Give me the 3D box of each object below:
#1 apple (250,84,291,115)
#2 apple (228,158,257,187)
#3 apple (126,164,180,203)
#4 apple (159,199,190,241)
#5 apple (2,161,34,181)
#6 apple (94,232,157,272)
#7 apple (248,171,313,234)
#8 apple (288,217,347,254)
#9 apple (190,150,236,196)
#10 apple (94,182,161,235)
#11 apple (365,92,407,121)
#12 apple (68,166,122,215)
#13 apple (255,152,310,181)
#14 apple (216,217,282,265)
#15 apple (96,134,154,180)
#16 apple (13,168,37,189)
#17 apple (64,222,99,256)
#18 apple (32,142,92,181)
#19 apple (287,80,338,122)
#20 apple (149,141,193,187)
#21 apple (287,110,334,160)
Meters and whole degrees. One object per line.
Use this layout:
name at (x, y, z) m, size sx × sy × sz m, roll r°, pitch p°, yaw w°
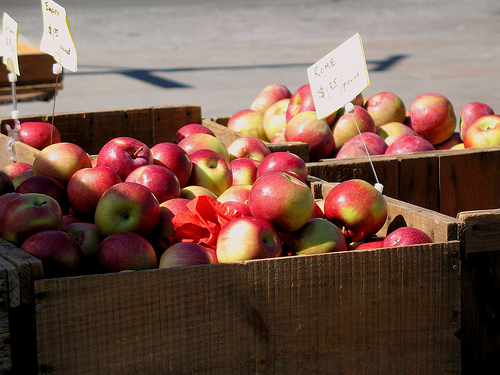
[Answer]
apple at (0.152, -0.673, 4.830) m, size 0.226 × 0.241 × 0.240 m, roll 38°, pitch 11°, yaw -15°
apple at (-0.030, -0.078, 3.162) m, size 0.108 × 0.142 × 0.125 m, roll 3°, pitch 7°, yaw 0°
apple at (-0.406, -0.025, 2.738) m, size 0.183 × 0.186 × 0.176 m, roll 4°, pitch -33°, yaw -28°
apple at (-0.326, 0.115, 2.622) m, size 0.116 × 0.163 × 0.130 m, roll 7°, pitch 27°, yaw -17°
apple at (-1.137, -0.085, 3.156) m, size 0.098 × 0.146 × 0.110 m, roll -5°, pitch -5°, yaw 17°
apple at (-0.426, 0.275, 2.387) m, size 0.125 × 0.170 × 0.133 m, roll -20°, pitch -2°, yaw -18°
apple at (0.127, 0.046, 2.587) m, size 0.256 × 0.235 × 0.278 m, roll 17°, pitch 7°, yaw 10°
apple at (0.259, 0.193, 2.488) m, size 0.172 × 0.167 × 0.153 m, roll 25°, pitch -9°, yaw 6°
apple at (-0.175, -0.066, 3.139) m, size 0.184 × 0.208 × 0.203 m, roll -33°, pitch -7°, yaw 3°
apple at (-0.477, 0.092, 2.490) m, size 0.185 × 0.225 × 0.207 m, roll 6°, pitch 12°, yaw -8°
apple at (0.930, -0.544, 4.397) m, size 0.203 × 0.233 × 0.222 m, roll -26°, pitch 14°, yaw 7°
apple at (-0.677, 0.039, 2.739) m, size 0.192 × 0.201 × 0.211 m, roll -8°, pitch -15°, yaw -10°
apple at (0.159, -0.115, 3.031) m, size 0.146 × 0.163 × 0.165 m, roll 8°, pitch 2°, yaw 8°
apple at (-0.003, 0.189, 2.467) m, size 0.184 × 0.189 × 0.188 m, roll 35°, pitch 4°, yaw -20°
apple at (-0.570, -0.139, 2.970) m, size 0.198 × 0.221 × 0.224 m, roll -19°, pitch 11°, yaw -40°
apple at (-1.017, -0.055, 2.906) m, size 0.093 × 0.103 × 0.123 m, roll -4°, pitch -38°, yaw -29°
apple at (-0.658, 0.218, 2.525) m, size 0.119 × 0.145 × 0.132 m, roll -8°, pitch -24°, yaw -30°
apple at (-0.867, -0.115, 2.924) m, size 0.200 × 0.200 × 0.195 m, roll -4°, pitch -36°, yaw -3°
apple at (0.409, -0.568, 4.210) m, size 0.235 × 0.272 × 0.247 m, roll -13°, pitch -11°, yaw 31°
apple at (-0.371, -0.093, 3.053) m, size 0.199 × 0.275 × 0.209 m, roll -12°, pitch 10°, yaw -19°
apple at (0.333, -0.267, 3.910) m, size 0.263 × 0.291 × 0.284 m, roll -14°, pitch -24°, yaw -7°
